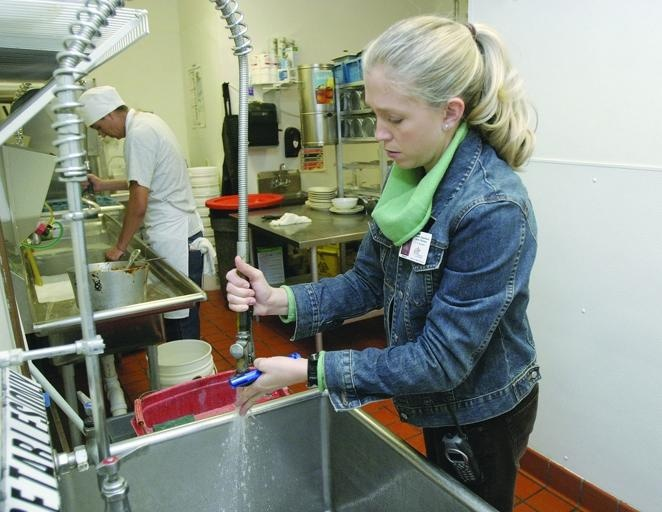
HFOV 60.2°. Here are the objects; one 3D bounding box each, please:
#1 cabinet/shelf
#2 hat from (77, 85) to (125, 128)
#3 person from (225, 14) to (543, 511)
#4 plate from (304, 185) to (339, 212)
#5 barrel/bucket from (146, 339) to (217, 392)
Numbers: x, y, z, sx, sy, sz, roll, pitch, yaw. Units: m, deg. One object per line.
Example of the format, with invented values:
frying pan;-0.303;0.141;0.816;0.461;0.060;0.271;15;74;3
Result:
cabinet/shelf;0.337;-0.865;4.296;0.379;1.093;0.586;-12;17;-31
hat;-1.336;-0.952;3.408;0.237;0.184;0.188;-36;35;-20
person;0.165;0.089;1.446;0.679;1.291;0.514;0;15;19
plate;-0.085;-0.455;4.535;0.213;0.117;0.218;18;27;41
barrel/bucket;-0.732;0.519;2.821;0.287;0.245;0.278;0;9;0
